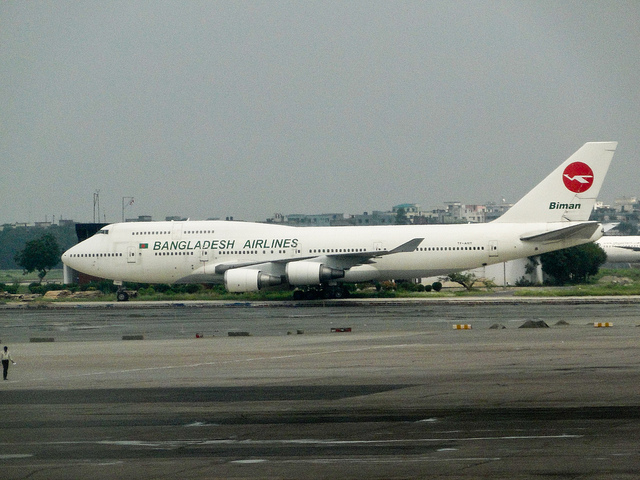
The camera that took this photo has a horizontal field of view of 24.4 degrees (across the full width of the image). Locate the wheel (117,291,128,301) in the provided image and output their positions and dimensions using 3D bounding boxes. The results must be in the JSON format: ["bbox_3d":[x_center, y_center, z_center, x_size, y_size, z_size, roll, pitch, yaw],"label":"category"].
[{"bbox_3d":[-10.801,3.029,81.359,0.639,0.538,0.235,-2,-2,12],"label":"wheel"}]

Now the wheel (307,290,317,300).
[{"bbox_3d":[-0.415,2.883,79.117,0.537,0.452,0.114,6,-3,9],"label":"wheel"}]

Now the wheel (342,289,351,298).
[{"bbox_3d":[1.439,2.854,80.379,0.288,0.366,1.216,6,3,23],"label":"wheel"}]

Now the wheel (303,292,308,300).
[{"bbox_3d":[-0.698,2.908,79.075,0.302,0.440,0.482,-2,2,-14],"label":"wheel"}]

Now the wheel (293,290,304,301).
[{"bbox_3d":[-1.110,2.911,79.035,0.555,0.552,0.511,3,4,0],"label":"wheel"}]
